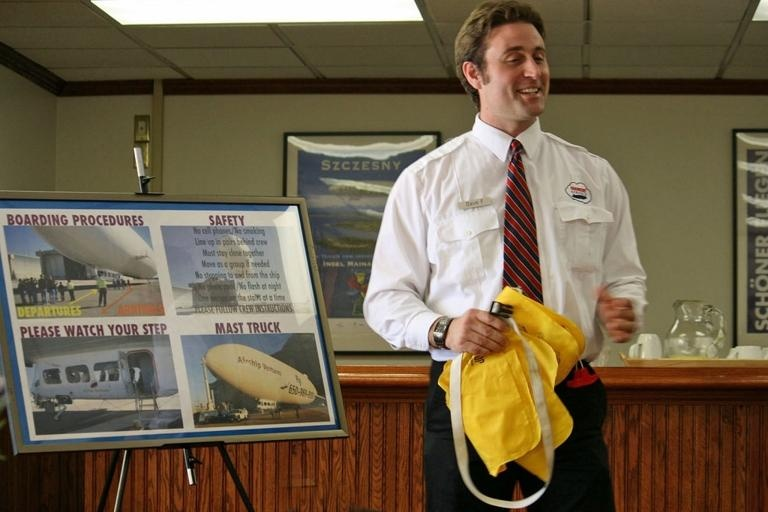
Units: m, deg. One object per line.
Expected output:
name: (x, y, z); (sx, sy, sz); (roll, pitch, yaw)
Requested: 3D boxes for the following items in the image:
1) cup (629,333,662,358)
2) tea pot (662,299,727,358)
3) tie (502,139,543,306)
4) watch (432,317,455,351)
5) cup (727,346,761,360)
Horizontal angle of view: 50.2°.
cup: (1.383, 0.464, 4.334); (0.186, 0.179, 0.116); (2, -2, -25)
tea pot: (1.647, 0.400, 4.386); (0.352, 0.356, 0.253); (0, -5, 10)
tie: (0.513, -0.141, 3.101); (0.145, 0.630, 0.075); (-3, -6, 7)
watch: (0.217, 0.274, 3.011); (0.088, 0.108, 0.027); (-6, -7, 28)
cup: (1.805, 0.477, 4.088); (0.156, 0.075, 0.094); (-3, -6, 5)
